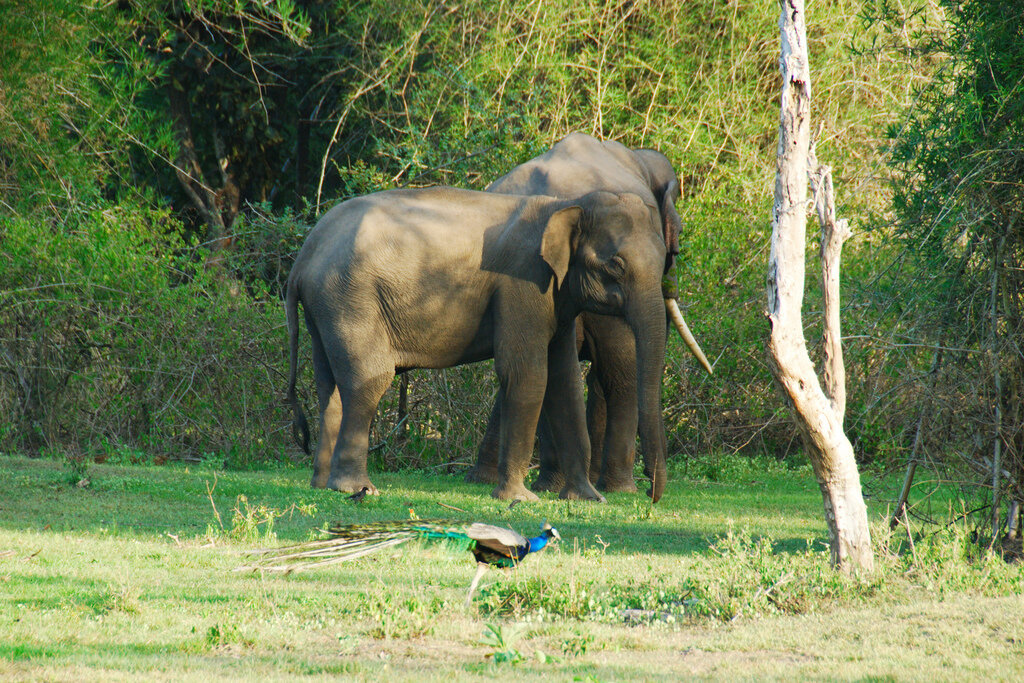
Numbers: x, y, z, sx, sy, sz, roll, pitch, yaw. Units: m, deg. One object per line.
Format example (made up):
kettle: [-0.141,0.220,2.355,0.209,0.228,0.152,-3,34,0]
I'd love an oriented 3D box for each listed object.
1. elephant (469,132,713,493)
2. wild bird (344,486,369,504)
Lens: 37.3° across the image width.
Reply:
elephant: [0.319,-0.138,18.132,3.787,4.252,2.285,9,8,33]
wild bird: [-1.606,1.613,15.735,0.232,0.173,0.094,-6,-8,15]
